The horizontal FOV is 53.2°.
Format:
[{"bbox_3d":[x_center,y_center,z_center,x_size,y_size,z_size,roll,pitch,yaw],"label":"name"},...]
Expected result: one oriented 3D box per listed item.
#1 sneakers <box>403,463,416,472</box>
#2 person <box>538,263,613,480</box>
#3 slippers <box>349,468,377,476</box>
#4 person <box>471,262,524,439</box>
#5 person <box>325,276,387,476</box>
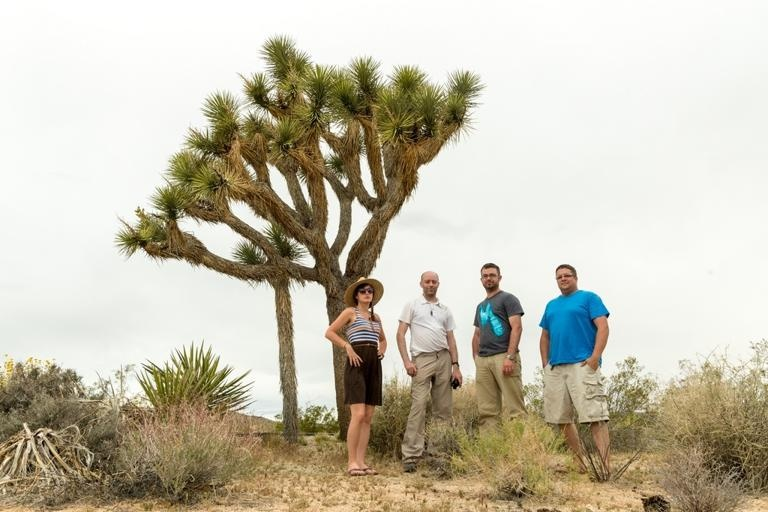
[{"bbox_3d":[0.433,3.421,12.523,0.218,0.137,0.147,-1,8,-9],"label":"sneakers"},{"bbox_3d":[2.976,1.747,11.891,1.199,3.092,0.811,4,9,27],"label":"person"},{"bbox_3d":[-0.333,3.359,12.062,0.389,0.125,0.168,2,-1,-3],"label":"slippers"},{"bbox_3d":[1.867,1.494,12.384,0.814,2.646,0.823,1,8,8],"label":"person"},{"bbox_3d":[-0.402,2.027,12.449,0.803,3.315,1.328,0,8,0],"label":"person"}]
